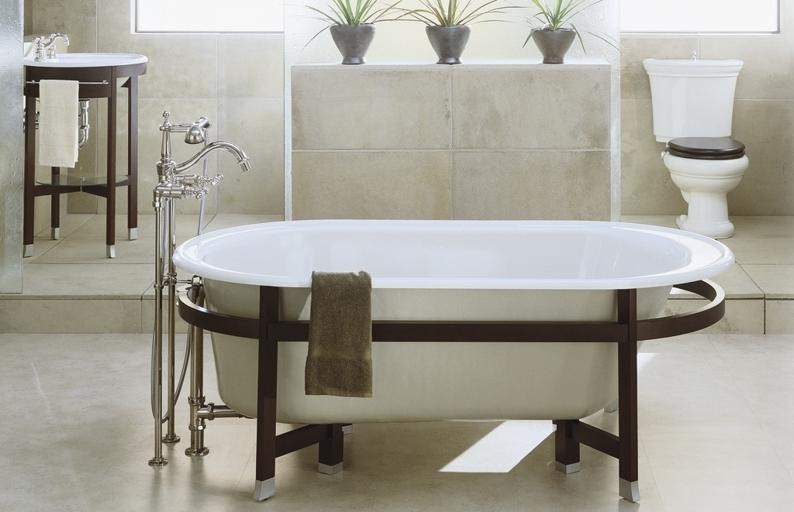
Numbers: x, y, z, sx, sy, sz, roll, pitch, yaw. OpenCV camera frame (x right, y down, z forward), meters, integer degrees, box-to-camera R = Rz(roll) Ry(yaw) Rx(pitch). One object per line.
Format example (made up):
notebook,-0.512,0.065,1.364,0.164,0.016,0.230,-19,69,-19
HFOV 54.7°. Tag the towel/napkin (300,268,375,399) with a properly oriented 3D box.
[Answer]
towel/napkin,-0.208,0.272,2.763,0.267,0.424,0.114,0,4,5

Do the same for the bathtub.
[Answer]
bathtub,0.211,0.324,3.234,2.120,0.872,0.846,-1,9,-1

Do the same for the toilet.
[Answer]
toilet,2.199,-0.796,5.506,0.789,1.144,1.099,-2,20,5

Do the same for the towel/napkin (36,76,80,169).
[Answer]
towel/napkin,-2.067,-0.796,4.648,0.279,0.509,0.215,-2,10,-9
